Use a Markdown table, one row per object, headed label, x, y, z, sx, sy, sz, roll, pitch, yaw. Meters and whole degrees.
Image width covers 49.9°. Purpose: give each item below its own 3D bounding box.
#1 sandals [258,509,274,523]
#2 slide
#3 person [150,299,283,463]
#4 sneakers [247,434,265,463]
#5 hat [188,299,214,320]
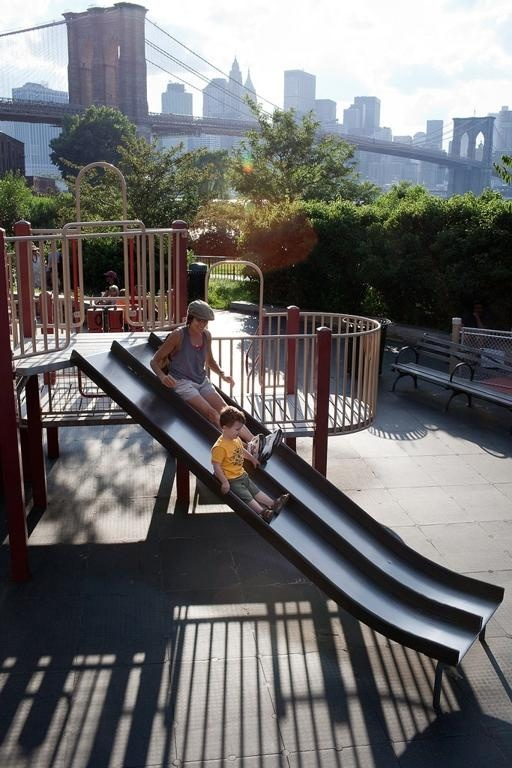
| label | x | y | z | sx | sy | sz | roll | pitch | yaw |
| --- | --- | --- | --- | --- | --- | --- | --- | --- | --- |
| sandals | 0.054 | 0.842 | 3.510 | 0.090 | 0.076 | 0.108 | 5 | 10 | 24 |
| slide | 0.173 | 1.010 | 4.895 | 3.009 | 0.432 | 0.844 | 44 | 22 | 23 |
| person | -0.261 | -0.061 | 4.406 | 0.712 | 0.826 | 1.314 | -7 | 31 | -46 |
| sneakers | -0.001 | 0.453 | 4.046 | 0.101 | 0.242 | 0.078 | 22 | 16 | -1 |
| hat | -0.410 | -0.577 | 4.311 | 0.218 | 0.131 | 0.166 | 17 | 12 | 37 |
